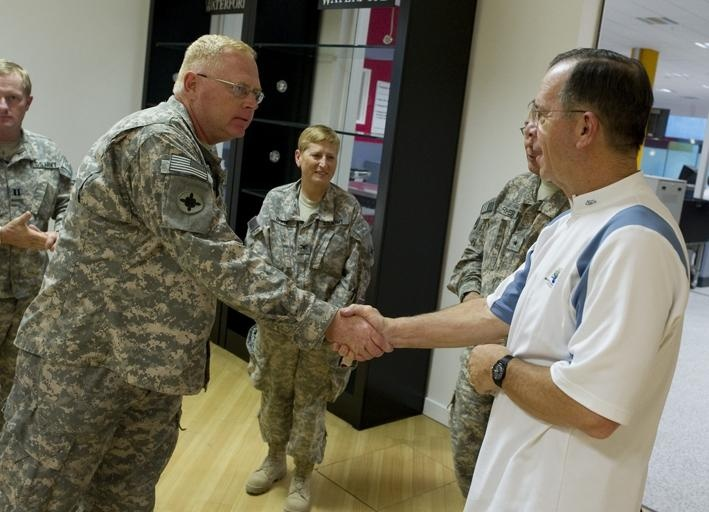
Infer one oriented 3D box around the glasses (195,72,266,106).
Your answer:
[{"bbox_3d":[-0.440,-0.618,1.880,0.120,0.037,0.118,27,6,16],"label":"glasses"}]
